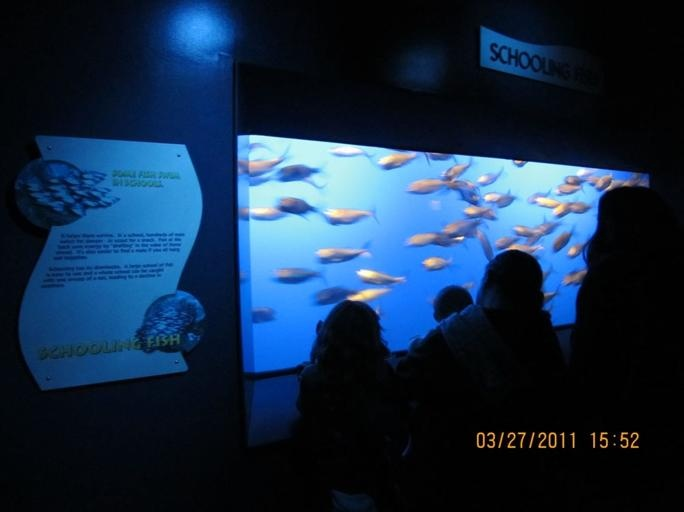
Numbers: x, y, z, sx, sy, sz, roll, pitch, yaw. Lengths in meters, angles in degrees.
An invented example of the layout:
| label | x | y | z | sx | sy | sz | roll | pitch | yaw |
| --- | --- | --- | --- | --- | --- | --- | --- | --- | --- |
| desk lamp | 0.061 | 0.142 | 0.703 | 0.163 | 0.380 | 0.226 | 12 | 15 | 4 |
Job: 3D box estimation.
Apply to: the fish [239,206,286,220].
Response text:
| label | x | y | z | sx | sy | sz | roll | pitch | yaw |
| --- | --- | --- | --- | --- | --- | --- | --- | --- | --- |
| fish | -0.260 | -0.136 | 1.823 | 0.153 | 0.053 | 0.051 | 0 | 2 | 2 |

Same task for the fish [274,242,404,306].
| label | x | y | z | sx | sy | sz | roll | pitch | yaw |
| --- | --- | --- | --- | --- | --- | --- | --- | --- | --- |
| fish | -0.005 | 0.067 | 1.875 | 0.436 | 0.194 | 0.049 | -9 | -8 | -20 |

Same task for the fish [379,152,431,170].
| label | x | y | z | sx | sy | sz | roll | pitch | yaw |
| --- | --- | --- | --- | --- | --- | --- | --- | --- | --- |
| fish | 0.209 | -0.330 | 1.931 | 0.136 | 0.053 | 0.028 | -17 | -3 | -13 |
